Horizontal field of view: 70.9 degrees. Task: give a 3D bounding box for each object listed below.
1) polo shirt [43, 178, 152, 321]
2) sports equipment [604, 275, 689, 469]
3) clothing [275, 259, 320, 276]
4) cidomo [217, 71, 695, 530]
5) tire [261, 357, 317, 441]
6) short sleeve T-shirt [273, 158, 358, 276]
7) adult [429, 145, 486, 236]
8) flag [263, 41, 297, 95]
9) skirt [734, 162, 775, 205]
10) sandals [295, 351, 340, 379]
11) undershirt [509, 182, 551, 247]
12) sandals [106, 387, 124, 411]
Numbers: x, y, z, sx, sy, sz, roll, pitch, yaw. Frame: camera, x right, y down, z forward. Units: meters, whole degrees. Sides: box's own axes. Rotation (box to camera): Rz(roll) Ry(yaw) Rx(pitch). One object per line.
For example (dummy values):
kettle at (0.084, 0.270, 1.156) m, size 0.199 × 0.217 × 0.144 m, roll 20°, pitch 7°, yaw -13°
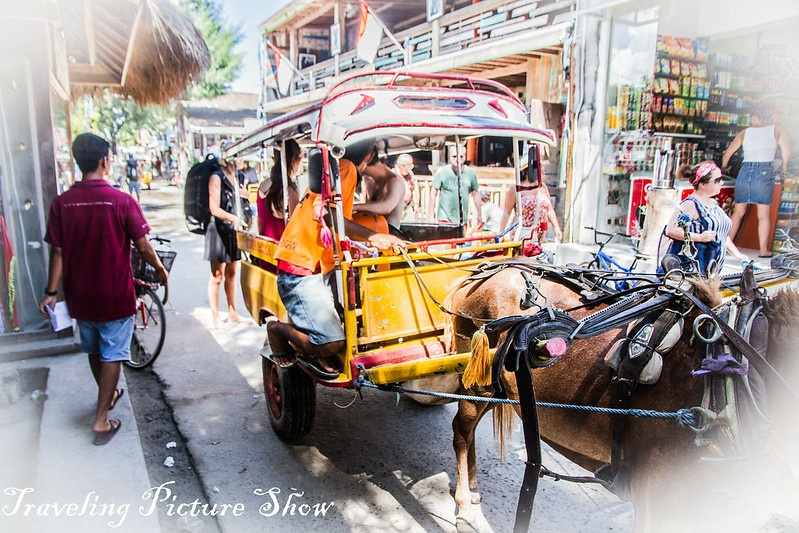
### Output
polo shirt at (-3.013, -0.166, 5.565) m, size 0.885 × 1.375 × 0.401 m, roll 3°, pitch 12°, yaw 7°
sports equipment at (1.807, 0.617, 4.124) m, size 0.488 × 0.811 × 0.362 m, roll -6°, pitch 14°, yaw -34°
clothing at (-0.997, 0.027, 5.358) m, size 0.236 × 0.080 × 0.182 m, roll 16°, pitch -6°, yaw -20°
cidomo at (-0.163, -0.413, 6.986) m, size 3.075 × 3.513 × 4.911 m, roll -6°, pitch 11°, yaw -29°
tire at (-1.120, 1.346, 5.719) m, size 0.278 × 0.866 × 0.769 m, roll -6°, pitch 14°, yaw -36°
short sleeve T-shirt at (-0.809, -0.473, 5.468) m, size 0.661 × 1.300 × 0.635 m, roll -7°, pitch 45°, yaw -36°
adult at (0.926, -0.795, 8.718) m, size 0.830 × 2.075 × 0.548 m, roll 2°, pitch 1°, yaw 6°
flag at (-3.585, -5.926, 16.553) m, size 0.279 × 0.936 × 2.676 m, roll 30°, pitch -15°, yaw -18°
skirt at (5.923, -1.375, 9.285) m, size 0.485 × 0.908 × 0.627 m, roll -7°, pitch 12°, yaw -43°
sandals at (-0.782, 0.923, 5.276) m, size 0.450 × 0.141 × 0.168 m, roll 20°, pitch 4°, yaw 42°
undershirt at (2.050, -0.811, 8.453) m, size 0.570 × 0.795 × 0.468 m, roll 3°, pitch -1°, yaw -9°
sandals at (-3.099, 1.405, 6.074) m, size 0.135 × 0.081 × 0.341 m, roll -4°, pitch 27°, yaw 4°
